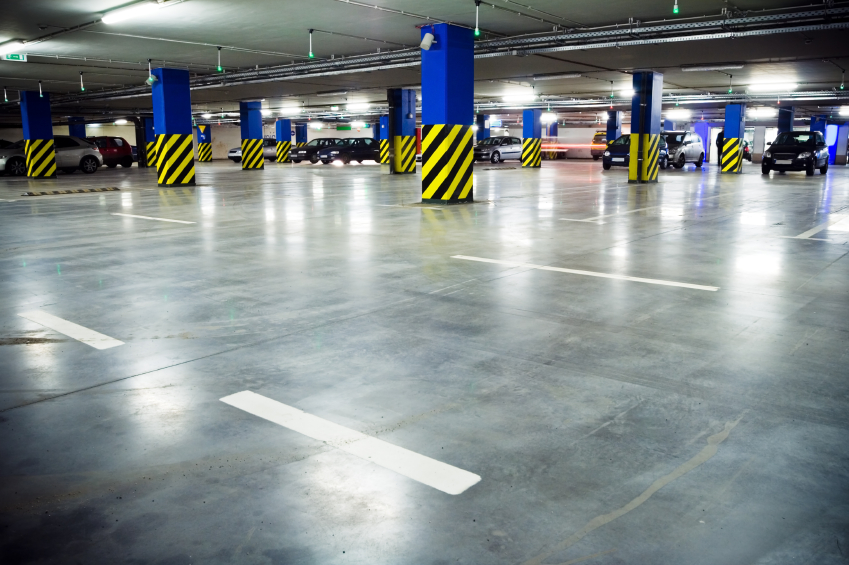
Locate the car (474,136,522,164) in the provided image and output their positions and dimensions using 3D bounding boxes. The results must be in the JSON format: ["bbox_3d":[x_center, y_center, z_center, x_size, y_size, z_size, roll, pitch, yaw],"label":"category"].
[{"bbox_3d":[5.250,-9.376,37.024,1.235,1.826,4.345,14,19,43],"label":"car"}]

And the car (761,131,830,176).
[{"bbox_3d":[16.140,-5.718,23.020,2.187,1.922,2.455,8,16,31],"label":"car"}]

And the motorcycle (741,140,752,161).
[{"bbox_3d":[27.348,-11.124,44.549,0.701,1.616,3.231,8,16,30],"label":"motorcycle"}]

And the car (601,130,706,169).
[{"bbox_3d":[12.684,-7.326,28.775,8.258,2.042,1.738,-12,18,-41],"label":"car"}]
